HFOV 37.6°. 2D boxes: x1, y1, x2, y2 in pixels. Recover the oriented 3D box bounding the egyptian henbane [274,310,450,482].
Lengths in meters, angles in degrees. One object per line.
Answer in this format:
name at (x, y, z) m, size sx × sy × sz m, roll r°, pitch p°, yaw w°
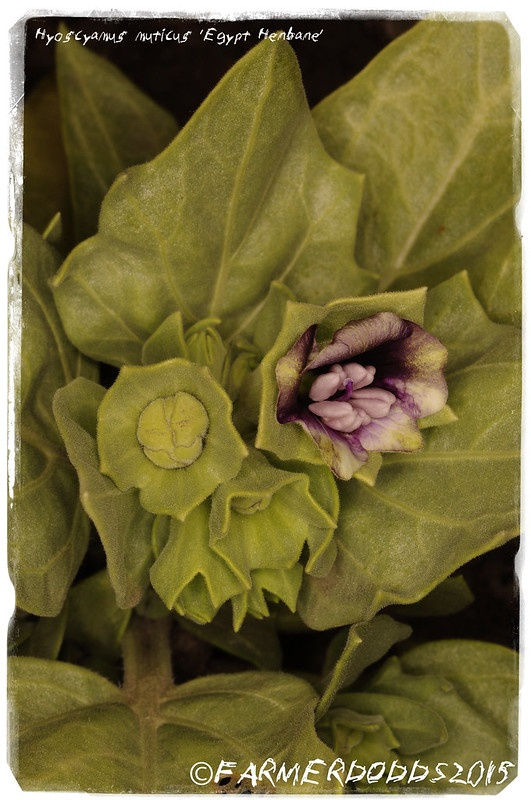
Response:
egyptian henbane at (0.114, -0.034, 1.120) m, size 0.244 × 0.234 × 0.114 m, roll -35°, pitch 37°, yaw -20°
